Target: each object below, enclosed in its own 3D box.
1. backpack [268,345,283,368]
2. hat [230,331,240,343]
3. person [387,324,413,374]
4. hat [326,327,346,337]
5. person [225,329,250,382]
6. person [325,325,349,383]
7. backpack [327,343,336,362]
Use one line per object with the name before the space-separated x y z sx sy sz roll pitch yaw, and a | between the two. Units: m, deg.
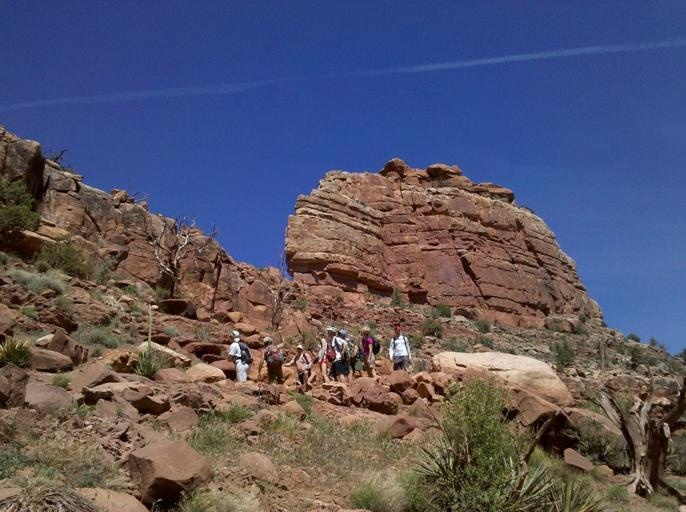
backpack | -1.699 2.542 13.661 0.453 0.517 0.376 -15 -12 41
hat | -2.756 2.039 13.667 0.187 0.282 0.259 8 6 -13
person | 1.688 2.845 15.588 0.565 1.779 0.431 -4 12 14
hat | -0.197 2.341 16.164 0.515 0.268 0.396 16 -5 4
person | -2.597 2.510 13.407 0.559 1.579 1.110 5 -31 -10
person | -0.125 2.927 15.545 0.488 1.635 1.142 12 -33 -20
backpack | -0.353 2.845 15.874 0.241 0.453 0.407 3 19 10
